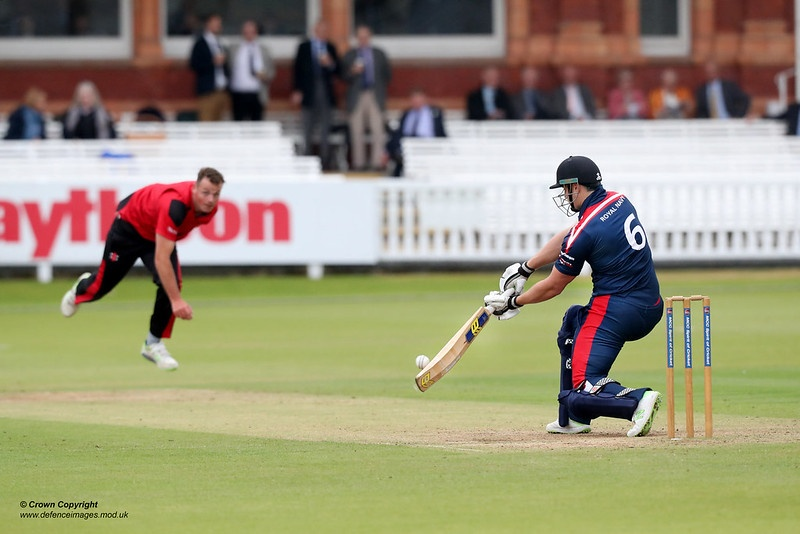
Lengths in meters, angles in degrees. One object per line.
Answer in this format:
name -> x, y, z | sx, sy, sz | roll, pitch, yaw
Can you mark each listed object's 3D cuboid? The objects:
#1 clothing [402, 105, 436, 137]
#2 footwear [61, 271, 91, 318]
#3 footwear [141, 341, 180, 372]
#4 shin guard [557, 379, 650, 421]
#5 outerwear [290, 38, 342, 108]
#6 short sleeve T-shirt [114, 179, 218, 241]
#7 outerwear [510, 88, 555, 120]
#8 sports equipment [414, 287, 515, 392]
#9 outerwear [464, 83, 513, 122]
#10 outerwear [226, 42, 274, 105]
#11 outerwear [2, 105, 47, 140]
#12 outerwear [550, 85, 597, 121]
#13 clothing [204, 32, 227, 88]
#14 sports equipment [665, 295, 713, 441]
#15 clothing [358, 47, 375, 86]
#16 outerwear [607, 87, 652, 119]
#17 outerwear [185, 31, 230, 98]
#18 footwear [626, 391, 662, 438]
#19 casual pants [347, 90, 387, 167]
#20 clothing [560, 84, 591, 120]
clothing -> 0.304, -2.415, 27.579 | 0.568, 0.484, 0.223 | 6, -6, 5
footwear -> -4.272, 0.331, 21.654 | 0.266, 0.596, 0.210 | 34, -2, 35
footwear -> -2.826, 0.972, 19.360 | 0.215, 0.238, 0.650 | -27, 25, -33
shin guard -> 2.156, 1.347, 17.723 | 0.806, 0.337, 0.466 | -13, 33, 1
outerwear -> -1.396, -3.212, 27.327 | 0.759, 1.088, 0.500 | -1, 4, -2
short sleeve T-shirt -> -2.824, -0.677, 19.006 | 0.855, 0.307, 0.855 | 14, 18, 24
outerwear -> 2.239, -2.788, 28.246 | 0.630, 0.500, 0.156 | 3, -23, -5
sports equipment -> 0.816, 0.904, 20.796 | 0.366, 1.334, 0.321 | 33, -13, 40
outerwear -> 1.514, -2.801, 28.351 | 0.993, 0.847, 0.341 | 0, 7, 4
outerwear -> -2.610, -3.458, 27.801 | 0.637, 0.890, 0.703 | 19, 25, 9
outerwear -> -6.267, -2.371, 27.309 | 0.567, 0.612, 0.976 | 1, 1, -7
outerwear -> 2.953, -2.847, 28.401 | 0.774, 0.611, 0.383 | -1, 4, -4
clothing -> -3.068, -3.417, 27.645 | 0.210, 0.663, 0.532 | -7, -13, 24
sports equipment -> 3.131, 0.994, 17.918 | 0.521, 1.648, 0.124 | -2, 22, 6
clothing -> -0.590, -3.299, 27.405 | 0.309, 0.668, 0.108 | -3, 5, -26
outerwear -> 3.998, -2.869, 29.039 | 0.654, 0.521, 0.704 | 0, 4, 5
outerwear -> -3.221, -3.385, 27.612 | 0.606, 1.002, 0.730 | -1, 4, -5
footwear -> 2.602, 1.500, 17.736 | 0.291, 0.555, 0.215 | 20, 18, 1
casual pants -> -0.528, -2.339, 27.815 | 0.705, 1.357, 0.442 | 4, 3, 17
clothing -> 2.996, -2.814, 28.448 | 0.427, 0.600, 0.260 | -6, -12, -9
